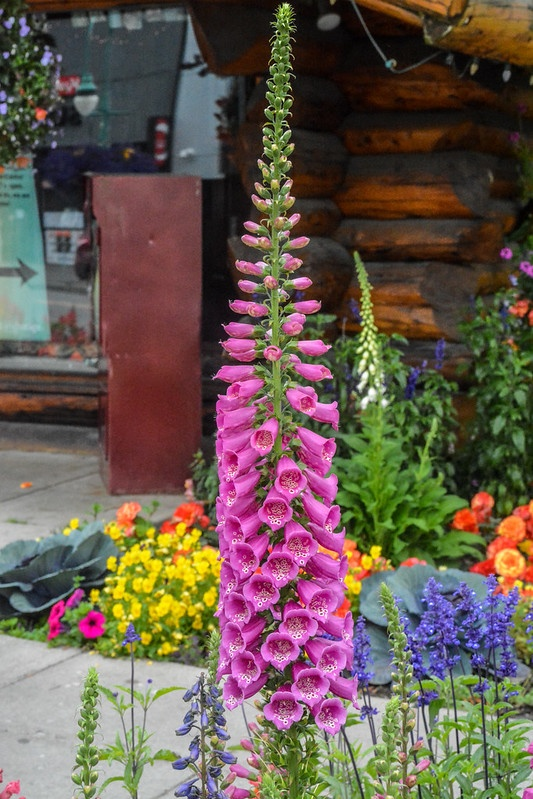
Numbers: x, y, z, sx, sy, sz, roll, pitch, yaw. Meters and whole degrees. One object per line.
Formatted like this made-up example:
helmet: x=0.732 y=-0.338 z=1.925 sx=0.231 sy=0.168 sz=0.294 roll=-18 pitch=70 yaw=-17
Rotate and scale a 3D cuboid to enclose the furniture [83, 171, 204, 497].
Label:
furniture: x=-0.546 y=-0.446 z=7.113 sx=0.819 sy=1.858 sz=1.200 roll=0 pitch=5 yaw=20
